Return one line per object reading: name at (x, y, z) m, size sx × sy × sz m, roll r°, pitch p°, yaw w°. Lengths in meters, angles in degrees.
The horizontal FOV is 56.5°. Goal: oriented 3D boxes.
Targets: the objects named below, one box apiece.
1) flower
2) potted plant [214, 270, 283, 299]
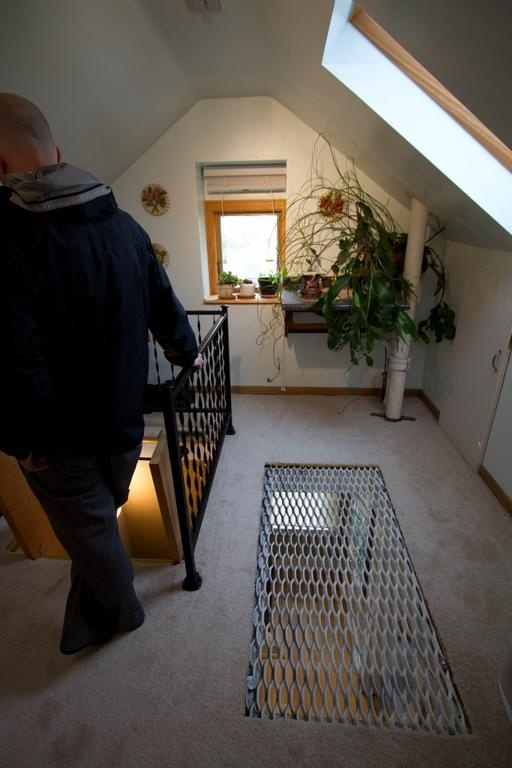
flower at (0.646, -0.789, 3.033) m, size 0.775 × 1.712 × 0.619 m, roll 0°, pitch 28°, yaw 4°
potted plant at (-0.057, -0.744, 3.561) m, size 0.401 × 0.221 × 0.237 m, roll -1°, pitch 28°, yaw 2°
